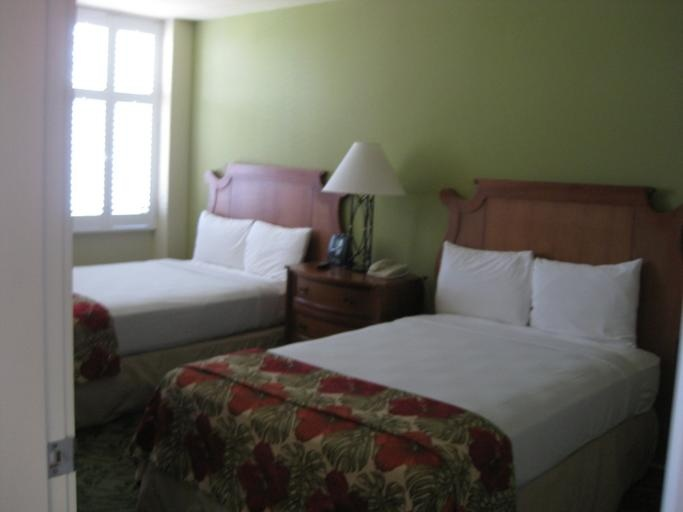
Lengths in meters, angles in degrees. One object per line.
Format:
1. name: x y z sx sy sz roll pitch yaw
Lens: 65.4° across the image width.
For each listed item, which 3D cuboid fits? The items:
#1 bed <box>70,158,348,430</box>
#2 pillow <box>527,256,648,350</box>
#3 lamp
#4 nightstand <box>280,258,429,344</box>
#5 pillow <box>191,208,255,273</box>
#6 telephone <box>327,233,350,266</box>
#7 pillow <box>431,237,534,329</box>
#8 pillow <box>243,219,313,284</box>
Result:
1. bed: -1.587 -0.109 4.126 2.294 1.612 1.972 -2 21 -38
2. pillow: 1.365 0.233 3.039 0.565 0.499 0.208 7 16 35
3. lamp: 0.171 -0.366 3.948 0.569 0.929 0.578 4 4 -29
4. nightstand: 0.011 0.394 3.955 0.803 0.719 0.529 7 23 21
5. pillow: -1.043 -0.139 4.813 0.520 0.365 0.143 9 -6 42
6. telephone: -0.019 -0.059 4.087 0.145 0.238 0.130 14 9 38
7. pillow: 0.896 0.175 3.305 0.167 0.388 0.475 5 0 -44
8. pillow: -0.544 -0.046 4.463 0.479 0.499 0.143 8 -10 39
